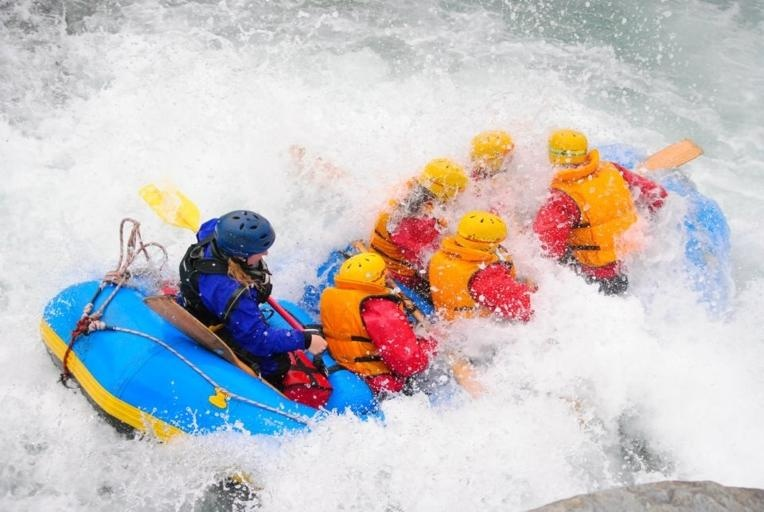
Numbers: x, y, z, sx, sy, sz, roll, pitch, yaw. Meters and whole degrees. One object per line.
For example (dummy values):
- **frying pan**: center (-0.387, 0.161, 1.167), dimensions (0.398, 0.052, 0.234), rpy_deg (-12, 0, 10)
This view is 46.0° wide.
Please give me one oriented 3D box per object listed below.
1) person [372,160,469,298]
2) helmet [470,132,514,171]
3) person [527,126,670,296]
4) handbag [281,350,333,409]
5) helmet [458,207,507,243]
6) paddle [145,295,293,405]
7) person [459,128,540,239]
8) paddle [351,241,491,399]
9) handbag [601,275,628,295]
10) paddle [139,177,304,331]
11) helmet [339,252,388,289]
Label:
- **person**: center (0.486, -0.450, 11.344), dimensions (1.159, 1.791, 0.801), rpy_deg (16, 35, 3)
- **helmet**: center (1.407, -1.420, 11.724), dimensions (0.500, 0.295, 0.505), rpy_deg (-47, 38, -17)
- **person**: center (2.744, -0.477, 11.449), dimensions (1.334, 1.786, 0.953), rpy_deg (-35, 37, 4)
- **handbag**: center (-0.870, 1.423, 10.291), dimensions (0.645, 0.238, 0.495), rpy_deg (24, 42, -4)
- **helmet**: center (1.193, -0.358, 10.582), dimensions (0.433, 0.424, 0.205), rpy_deg (12, 99, 20)
- **paddle**: center (-1.742, 1.021, 9.954), dimensions (2.092, 0.368, 0.222), rpy_deg (34, 81, 0)
- **person**: center (1.546, -0.895, 11.843), dimensions (0.879, 0.603, 1.423), rpy_deg (-3, 91, 11)
- **paddle**: center (0.490, 0.816, 10.568), dimensions (0.321, 0.277, 2.175), rpy_deg (-39, 83, -14)
- **handbag**: center (2.961, 0.374, 11.443), dimensions (0.318, 0.109, 0.219), rpy_deg (-9, 82, -3)
- **paddle**: center (-1.887, 0.036, 10.678), dimensions (2.593, 0.207, 0.422), rpy_deg (43, 82, 5)
- **helmet**: center (-0.265, 0.171, 10.362), dimensions (0.481, 0.315, 0.361), rpy_deg (-9, 27, 33)
